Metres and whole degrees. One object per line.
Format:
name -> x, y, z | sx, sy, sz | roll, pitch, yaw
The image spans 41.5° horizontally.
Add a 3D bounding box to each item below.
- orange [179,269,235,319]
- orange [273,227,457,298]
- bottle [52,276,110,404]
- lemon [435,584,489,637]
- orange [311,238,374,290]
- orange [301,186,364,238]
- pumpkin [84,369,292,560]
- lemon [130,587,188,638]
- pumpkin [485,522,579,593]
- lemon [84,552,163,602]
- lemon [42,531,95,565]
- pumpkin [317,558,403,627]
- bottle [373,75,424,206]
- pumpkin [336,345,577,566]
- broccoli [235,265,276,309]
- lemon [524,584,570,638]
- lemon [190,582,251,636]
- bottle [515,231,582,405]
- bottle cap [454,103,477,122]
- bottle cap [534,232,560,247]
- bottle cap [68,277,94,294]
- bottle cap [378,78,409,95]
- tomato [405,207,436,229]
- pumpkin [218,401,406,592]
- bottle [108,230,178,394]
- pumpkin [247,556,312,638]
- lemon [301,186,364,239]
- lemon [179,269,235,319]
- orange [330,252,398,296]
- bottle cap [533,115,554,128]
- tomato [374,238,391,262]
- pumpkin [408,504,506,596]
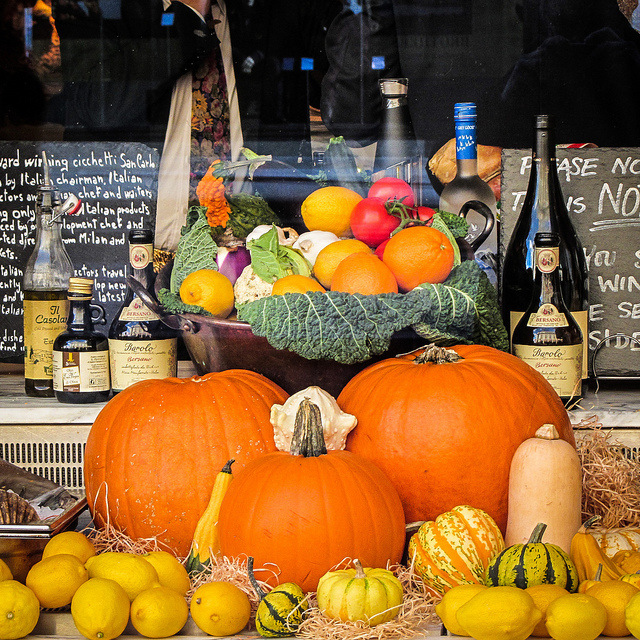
orange -> -0.182, -0.037, 1.363 | 0.078, 0.074, 0.094 | 0, 16, 38
orange -> 0.073, -0.088, 1.283 | 0.287, 0.099, 0.121 | -3, 4, -1
bottle -> -0.399, 0.034, 1.395 | 0.089, 0.206, 0.047 | -5, 4, -21
lemon -> 0.165, 0.337, 0.992 | 0.064, 0.045, 0.046 | -3, 11, -8
orange -> 0.032, -0.095, 1.355 | 0.095, 0.075, 0.081 | 11, -11, -23
orange -> 0.014, -0.176, 1.367 | 0.100, 0.071, 0.075 | -1, 9, -28
pumpkin -> -0.208, 0.206, 1.328 | 0.275, 0.233, 0.275 | -1, -1, 29
lemon -> -0.193, 0.348, 1.001 | 0.049, 0.045, 0.064 | -4, -1, 37
pumpkin -> 0.266, 0.301, 1.059 | 0.100, 0.086, 0.100 | -4, -19, 18
lemon -> -0.255, 0.327, 1.098 | 0.074, 0.067, 0.116 | 8, -14, -11
lemon -> -0.338, 0.302, 1.131 | 0.045, 0.049, 0.043 | 0, -35, -28
pumpkin -> 0.051, 0.338, 1.045 | 0.114, 0.076, 0.108 | -2, -2, -9
bottle -> 0.136, -0.324, 1.499 | 0.082, 0.255, 0.224 | -3, 4, 6
pumpkin -> 0.192, 0.177, 1.331 | 0.350, 0.277, 0.329 | -2, 1, -2
broccoli -> -0.101, -0.050, 1.295 | 0.061, 0.063, 0.020 | -21, -19, 22
lemon -> 0.262, 0.335, 0.989 | 0.060, 0.041, 0.054 | -1, 0, -6
lemon -> -0.118, 0.342, 1.007 | 0.052, 0.050, 0.071 | -6, -8, 43
bottle -> 0.365, 0.001, 1.350 | 0.104, 0.278, 0.078 | -2, 4, 15
bottle cap -> 0.254, -0.366, 1.508 | 0.044, 0.034, 0.041 | -3, 11, -20
bottle cap -> 0.354, -0.125, 1.313 | 0.029, 0.018, 0.029 | 4, 4, 38
bottle cap -> -0.399, -0.057, 1.400 | 0.032, 0.020, 0.032 | 2, 3, 29
bottle cap -> 0.138, -0.425, 1.558 | 0.054, 0.025, 0.049 | -3, 10, -20
tomato -> 0.164, -0.168, 1.364 | 0.040, 0.041, 0.041 | 5, -13, 14
pumpkin -> -0.022, 0.248, 1.174 | 0.272, 0.250, 0.247 | 2, 19, -1
bottle -> -0.291, -0.016, 1.392 | 0.110, 0.267, 0.139 | -5, 4, -28
pumpkin -> -0.048, 0.356, 1.057 | 0.062, 0.062, 0.092 | -18, 43, -24
lemon -> 0.014, -0.176, 1.367 | 0.101, 0.070, 0.076 | 0, 10, -29
lemon -> -0.170, -0.038, 1.334 | 0.079, 0.077, 0.074 | 5, 2, 13
orange -> 0.066, -0.071, 1.266 | 0.075, 0.077, 0.073 | -2, 5, -34
bottle cap -> 0.374, -0.331, 1.409 | 0.026, 0.014, 0.025 | 2, 10, 11
tomato -> 0.098, -0.108, 1.307 | 0.025, 0.029, 0.024 | 31, 27, -20
pumpkin -> 0.174, 0.291, 1.076 | 0.110, 0.066, 0.106 | -6, 44, 12
